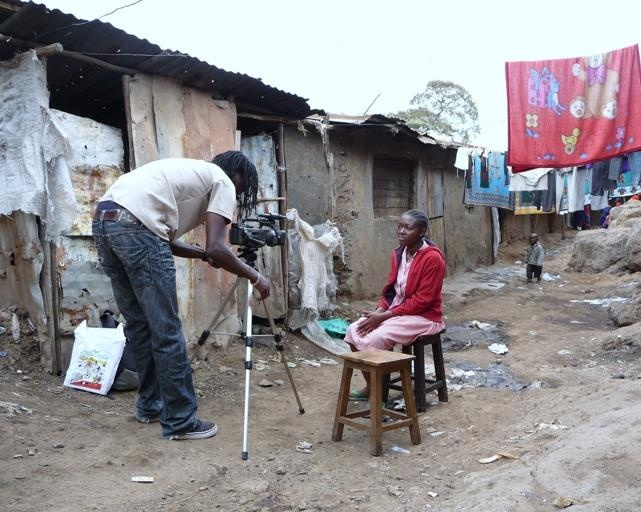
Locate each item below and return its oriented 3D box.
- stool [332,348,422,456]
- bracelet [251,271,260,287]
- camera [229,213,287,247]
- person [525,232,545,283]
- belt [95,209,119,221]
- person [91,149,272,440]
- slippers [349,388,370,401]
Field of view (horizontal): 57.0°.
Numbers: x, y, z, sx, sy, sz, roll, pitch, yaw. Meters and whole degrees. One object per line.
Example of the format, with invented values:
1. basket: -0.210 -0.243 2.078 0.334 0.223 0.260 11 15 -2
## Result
1. stool: 0.447 1.089 4.873 0.717 0.874 0.721 -2 3 -38
2. bracelet: -0.508 0.179 4.624 0.088 0.076 0.101 0 -35 -11
3. camera: -0.495 -0.228 4.961 0.609 0.357 0.230 -1 6 -39
4. person: 4.618 0.030 12.637 0.317 1.012 0.572 2 8 18
5. belt: -1.581 -0.305 4.376 0.239 0.084 0.058 4 8 32
6. person: -1.155 0.337 4.559 1.111 2.153 0.421 0 8 5
7. slippers: 0.361 1.327 5.627 0.091 0.066 0.240 -5 -12 32
